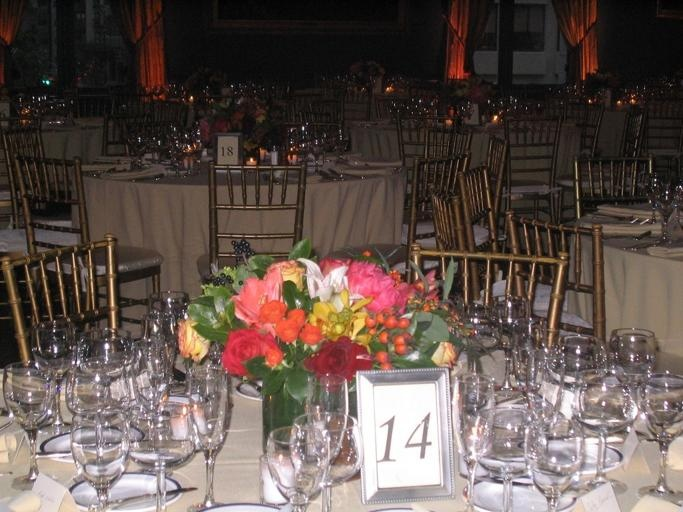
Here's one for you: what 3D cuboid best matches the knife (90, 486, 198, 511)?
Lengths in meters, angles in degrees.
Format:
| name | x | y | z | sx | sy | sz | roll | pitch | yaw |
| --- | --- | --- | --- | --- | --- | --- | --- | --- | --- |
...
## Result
| name | x | y | z | sx | sy | sz | roll | pitch | yaw |
| --- | --- | --- | --- | --- | --- | --- | --- | --- | --- |
| knife | -0.374 | 0.462 | 1.314 | 0.204 | 0.017 | 0.069 | -3 | 5 | -31 |

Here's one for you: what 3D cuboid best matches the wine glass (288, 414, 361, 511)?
| name | x | y | z | sx | sy | sz | roll | pitch | yaw |
| --- | --- | --- | --- | --- | --- | --- | --- | --- | --- |
| wine glass | -0.024 | 0.345 | 1.170 | 0.110 | 0.253 | 0.125 | 0 | -1 | 0 |

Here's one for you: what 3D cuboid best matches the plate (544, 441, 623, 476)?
| name | x | y | z | sx | sy | sz | roll | pitch | yaw |
| --- | --- | --- | --- | --- | --- | --- | --- | --- | --- |
| plate | 0.444 | 0.376 | 1.272 | 0.096 | 0.020 | 0.103 | -8 | 3 | -23 |
